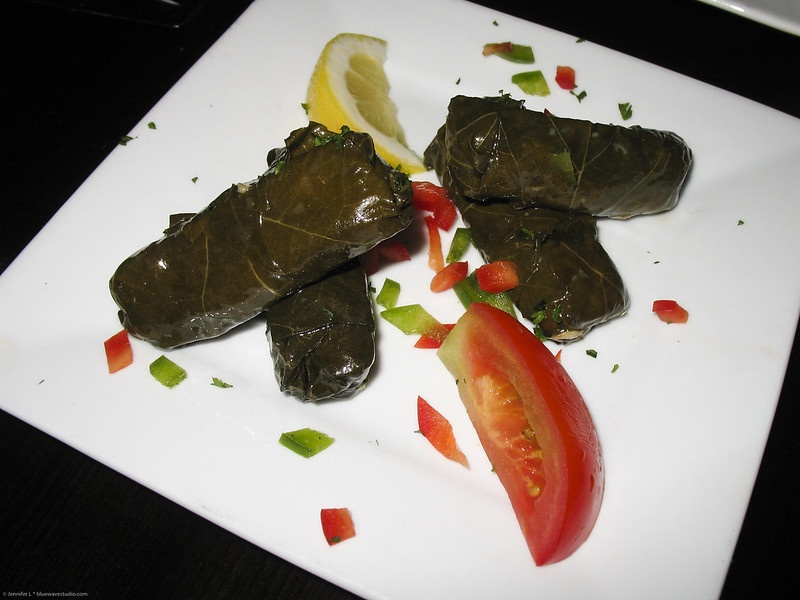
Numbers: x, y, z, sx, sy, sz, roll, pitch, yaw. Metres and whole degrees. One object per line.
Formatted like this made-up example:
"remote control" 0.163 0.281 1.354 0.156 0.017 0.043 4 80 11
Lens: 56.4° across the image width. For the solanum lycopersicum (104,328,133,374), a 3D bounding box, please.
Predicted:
"solanum lycopersicum" -1.161 0.205 3.058 0.136 0.038 0.139 -28 82 -27
